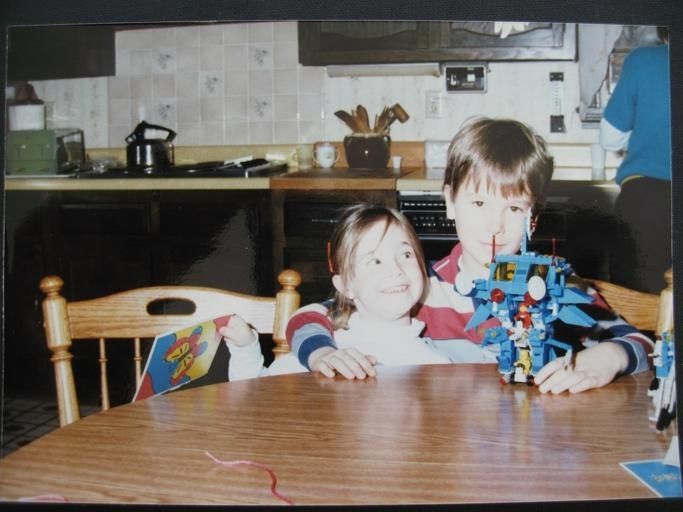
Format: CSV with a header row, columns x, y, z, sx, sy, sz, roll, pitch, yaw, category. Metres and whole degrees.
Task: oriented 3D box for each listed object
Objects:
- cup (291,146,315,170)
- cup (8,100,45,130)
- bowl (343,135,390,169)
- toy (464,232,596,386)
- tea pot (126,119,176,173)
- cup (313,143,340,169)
x,y,z,sx,sy,sz,roll,pitch,yaw,category
-0.095,-0.252,1.746,0.063,0.063,0.044,2,13,9,cup
-0.678,-0.305,1.495,0.081,0.066,0.032,-10,11,-42,cup
0.075,-0.257,1.704,0.122,0.087,0.076,2,8,18,bowl
0.369,0.102,1.309,0.265,0.295,0.111,1,8,15,toy
-0.439,-0.252,1.602,0.117,0.117,0.101,-5,9,-17,tea pot
-0.040,-0.259,1.715,0.067,0.064,0.043,-9,48,-3,cup
